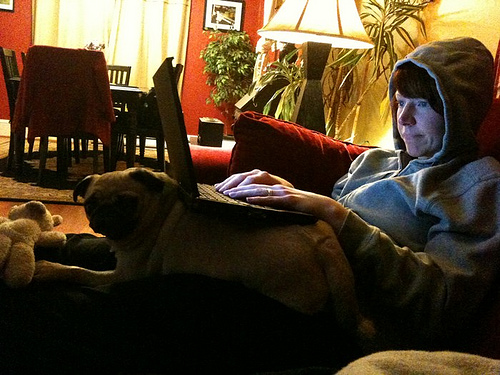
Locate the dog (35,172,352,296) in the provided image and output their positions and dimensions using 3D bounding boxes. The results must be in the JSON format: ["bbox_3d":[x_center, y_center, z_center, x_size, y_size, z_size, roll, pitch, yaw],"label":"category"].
[{"bbox_3d":[-0.112,0.126,1.040,0.781,0.323,0.276,9,24,-2],"label":"dog"}]

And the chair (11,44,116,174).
[{"bbox_3d":[-1.647,-0.707,3.620,0.872,1.064,0.750,-6,21,-34],"label":"chair"}]

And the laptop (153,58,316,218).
[{"bbox_3d":[-0.047,-0.108,1.094,0.416,0.323,0.404,-1,12,-15],"label":"laptop"}]

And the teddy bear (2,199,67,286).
[{"bbox_3d":[-0.611,0.157,1.148,0.194,0.218,0.140,11,23,-47],"label":"teddy bear"}]

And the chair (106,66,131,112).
[{"bbox_3d":[-1.706,-1.406,5.373,0.305,0.422,0.326,11,21,-23],"label":"chair"}]

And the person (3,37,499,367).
[{"bbox_3d":[0.206,0.033,1.268,1.481,0.874,0.735,1,6,-5],"label":"person"}]
